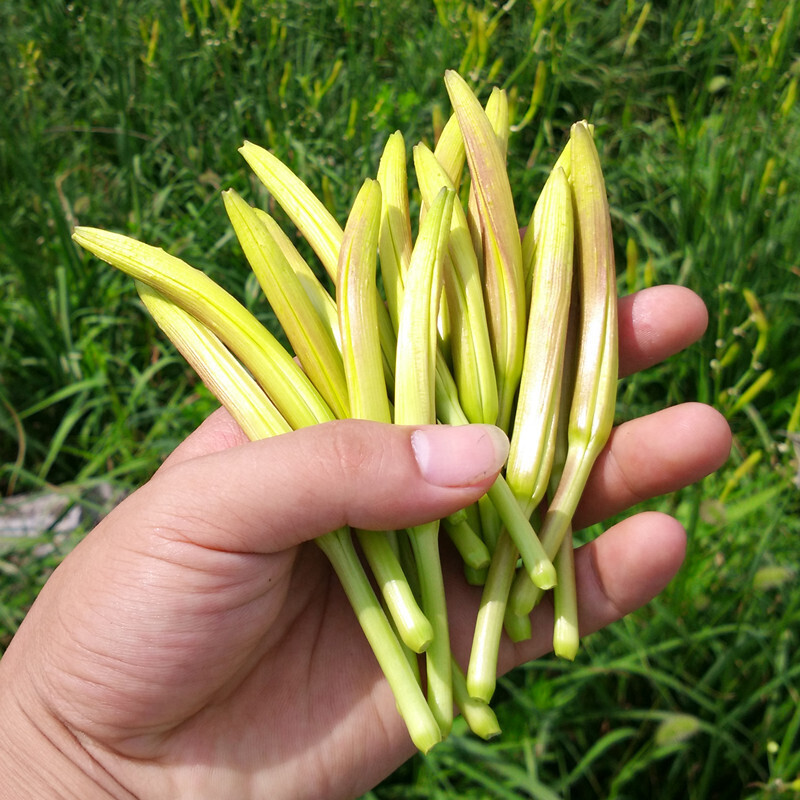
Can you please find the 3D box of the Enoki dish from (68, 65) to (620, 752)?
[{"bbox_3d":[-0.003,0.064,1.453,0.885,1.198,0.777,-5,22,-8],"label":"Enoki dish"}]
